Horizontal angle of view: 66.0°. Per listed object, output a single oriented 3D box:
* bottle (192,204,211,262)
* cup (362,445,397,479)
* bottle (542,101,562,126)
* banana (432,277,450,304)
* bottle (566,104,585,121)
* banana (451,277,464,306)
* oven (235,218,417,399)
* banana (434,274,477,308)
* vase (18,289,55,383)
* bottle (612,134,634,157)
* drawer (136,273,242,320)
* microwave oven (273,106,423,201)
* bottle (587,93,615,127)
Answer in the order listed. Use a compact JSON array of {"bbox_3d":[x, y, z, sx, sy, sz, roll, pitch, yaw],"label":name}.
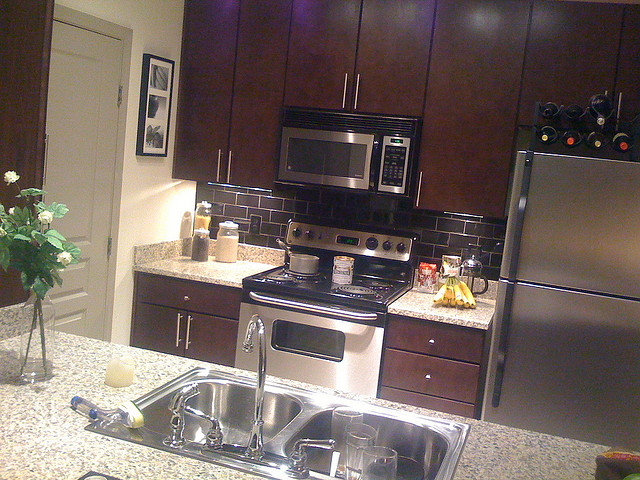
[{"bbox_3d":[-0.891,-0.062,3.659,0.119,0.393,0.245,2,12,-15],"label":"bottle"},{"bbox_3d":[0.160,0.604,1.338,0.079,0.080,0.080,0,-4,0],"label":"cup"},{"bbox_3d":[1.323,-0.723,2.822,0.125,0.119,0.144,-1,6,-3],"label":"bottle"},{"bbox_3d":[0.730,0.321,2.991,0.070,0.215,0.057,25,-33,3],"label":"banana"},{"bbox_3d":[1.420,-0.704,2.737,0.090,0.087,0.075,11,13,24],"label":"bottle"},{"bbox_3d":[0.818,0.313,2.970,0.035,0.045,0.137,28,33,-25],"label":"banana"},{"bbox_3d":[0.052,0.569,3.362,0.956,1.280,0.894,7,10,14],"label":"oven"},{"bbox_3d":[0.818,0.323,3.041,0.174,0.110,0.252,-3,29,-3],"label":"banana"},{"bbox_3d":[-0.972,0.321,1.681,0.103,0.320,0.073,-2,14,-32],"label":"vase"},{"bbox_3d":[1.596,-0.502,2.582,0.084,0.103,0.039,-1,12,5],"label":"bottle"},{"bbox_3d":[-0.750,0.436,3.616,0.892,0.211,0.824,6,-8,18],"label":"drawer"},{"bbox_3d":[0.160,-0.545,3.373,0.925,0.551,0.324,6,-4,4],"label":"microwave oven"},{"bbox_3d":[1.524,-0.688,2.703,0.155,0.206,0.104,5,-9,-4],"label":"bottle"}]
